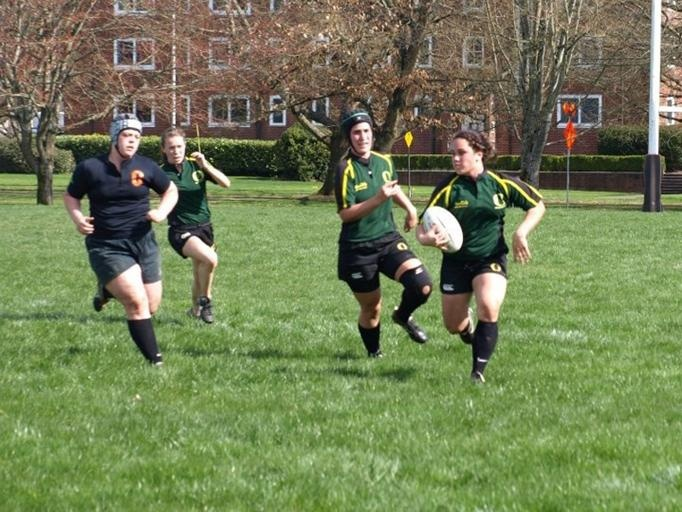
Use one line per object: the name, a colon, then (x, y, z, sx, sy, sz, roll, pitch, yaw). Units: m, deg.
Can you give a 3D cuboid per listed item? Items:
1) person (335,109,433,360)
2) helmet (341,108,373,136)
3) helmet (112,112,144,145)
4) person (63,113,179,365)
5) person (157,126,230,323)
person: (0.474, -0.282, 12.866, 0.953, 3.124, 1.000, 0, 13, -18)
helmet: (0.197, -1.629, 12.715, 0.331, 0.314, 0.510, 1, 6, 4)
helmet: (-2.658, -1.579, 12.753, 0.355, 0.362, 0.333, 3, 5, 29)
person: (-2.657, -0.255, 13.003, 1.423, 3.050, 1.116, 1, 1, 44)
person: (-2.192, -0.415, 14.659, 1.029, 2.710, 1.328, -4, 16, -1)
